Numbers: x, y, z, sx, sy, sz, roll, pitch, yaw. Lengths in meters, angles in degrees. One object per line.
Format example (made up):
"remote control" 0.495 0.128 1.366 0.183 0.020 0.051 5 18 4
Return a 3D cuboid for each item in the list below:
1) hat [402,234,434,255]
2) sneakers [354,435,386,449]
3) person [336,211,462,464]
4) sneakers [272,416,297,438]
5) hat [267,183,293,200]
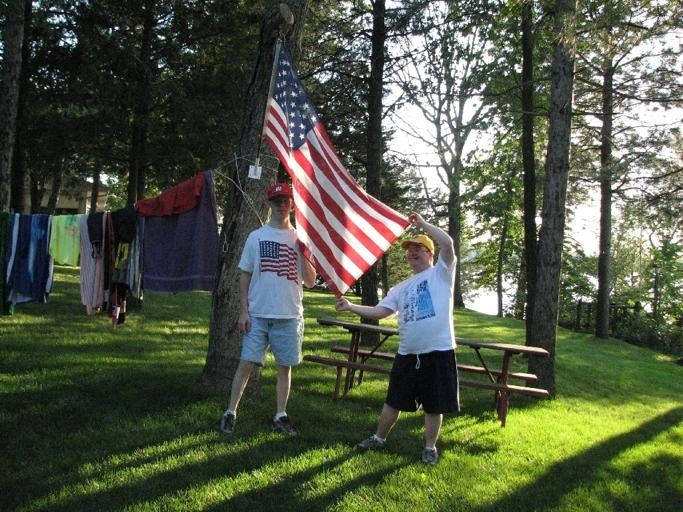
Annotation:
"hat" 1.192 -0.221 9.789 0.418 0.267 0.302 33 -6 -12
"sneakers" 0.468 2.875 9.780 0.394 0.210 0.207 4 -13 -3
"person" 1.176 1.207 9.550 1.308 3.640 0.744 5 11 13
"sneakers" -0.925 2.676 10.042 0.486 0.267 0.189 15 8 24
"hat" -0.979 -1.031 9.967 0.311 0.290 0.569 -2 0 -4
